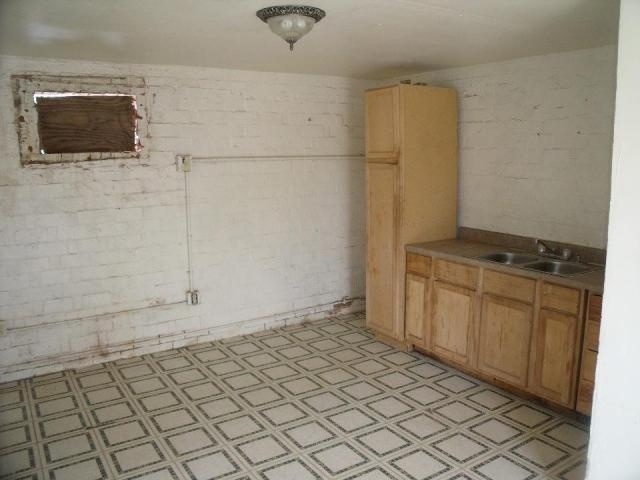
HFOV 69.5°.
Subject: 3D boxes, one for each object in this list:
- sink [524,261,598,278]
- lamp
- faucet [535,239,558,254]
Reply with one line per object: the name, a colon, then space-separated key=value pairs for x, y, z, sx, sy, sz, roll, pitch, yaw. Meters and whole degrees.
sink: x=2.183 y=0.252 z=4.180 sx=0.247 sy=0.100 sz=0.295 roll=-9 pitch=15 yaw=-26
lamp: x=-0.212 y=-1.548 z=3.391 sx=0.296 sy=0.126 sz=0.286 roll=0 pitch=3 yaw=35
faucet: x=2.174 y=0.062 z=4.513 sx=0.135 sy=0.130 sz=0.250 roll=-5 pitch=12 yaw=-19
